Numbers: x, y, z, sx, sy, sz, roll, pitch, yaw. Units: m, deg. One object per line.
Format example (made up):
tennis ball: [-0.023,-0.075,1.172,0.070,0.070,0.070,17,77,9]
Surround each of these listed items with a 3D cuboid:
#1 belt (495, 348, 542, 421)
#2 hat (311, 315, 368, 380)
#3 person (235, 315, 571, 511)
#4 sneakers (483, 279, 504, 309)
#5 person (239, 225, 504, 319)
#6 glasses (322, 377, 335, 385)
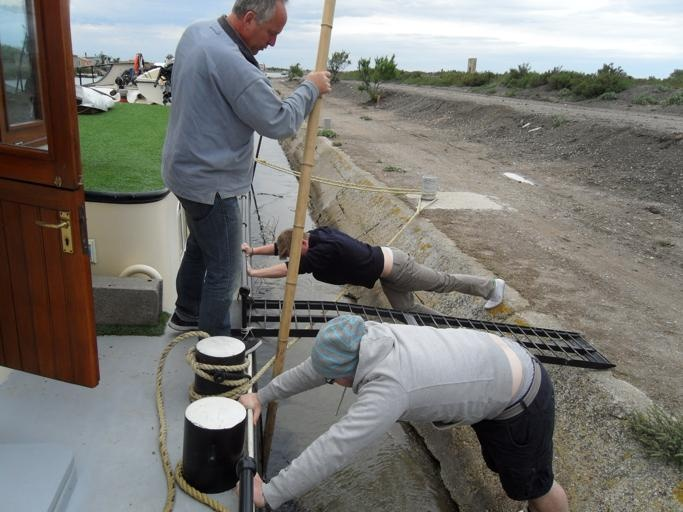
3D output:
belt: [1.131,0.800,2.745,0.104,0.392,0.387,21,-10,-26]
hat: [-0.021,0.549,2.507,0.275,0.473,0.255,9,24,4]
person: [0.467,0.770,2.907,2.188,1.250,0.980,4,33,-14]
sneakers: [1.686,0.438,4.916,0.180,0.355,0.159,11,6,-6]
person: [0.376,0.055,4.948,3.133,0.917,1.062,4,28,-4]
glasses: [-0.081,0.751,2.679,0.072,0.033,0.096,2,6,-3]
